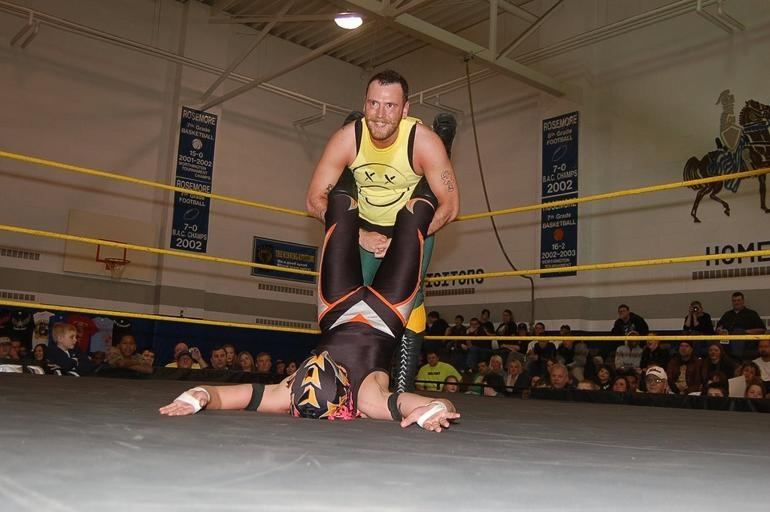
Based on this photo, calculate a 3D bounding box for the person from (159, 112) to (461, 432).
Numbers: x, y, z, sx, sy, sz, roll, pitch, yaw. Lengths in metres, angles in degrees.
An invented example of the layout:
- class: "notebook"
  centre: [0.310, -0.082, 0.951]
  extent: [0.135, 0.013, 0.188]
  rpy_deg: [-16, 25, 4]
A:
- class: "person"
  centre: [-0.147, 0.135, 3.154]
  extent: [0.958, 1.526, 0.458]
  rpy_deg: [6, -37, 7]

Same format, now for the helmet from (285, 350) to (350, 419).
- class: "helmet"
  centre: [-0.292, 0.621, 2.932]
  extent: [0.256, 0.302, 0.262]
  rpy_deg: [-3, 13, 5]

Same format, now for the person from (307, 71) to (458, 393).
- class: "person"
  centre: [0.174, -0.413, 3.826]
  extent: [0.824, 2.189, 1.213]
  rpy_deg: [8, -40, 6]

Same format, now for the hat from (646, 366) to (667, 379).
- class: "hat"
  centre: [2.554, 1.078, 5.826]
  extent: [0.175, 0.087, 0.270]
  rpy_deg: [-3, -14, 32]
